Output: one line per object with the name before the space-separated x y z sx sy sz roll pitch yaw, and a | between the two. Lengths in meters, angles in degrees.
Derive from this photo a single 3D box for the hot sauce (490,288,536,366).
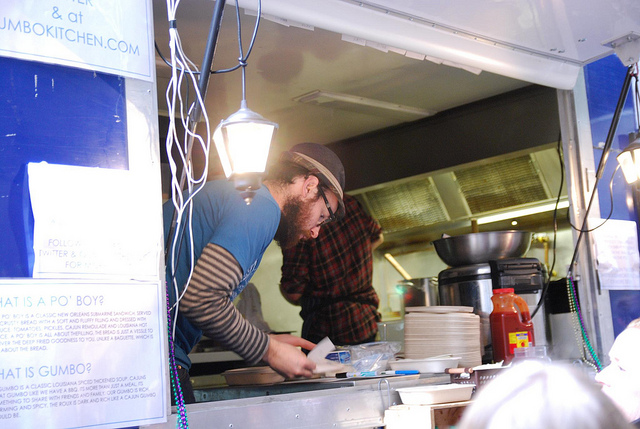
hot sauce | 1.004 0.578 2.515 0.260 0.468 0.198 0 -10 -11

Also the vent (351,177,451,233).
vent | 0.982 -0.103 5.139 0.923 0.658 0.219 -10 20 38

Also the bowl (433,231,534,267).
bowl | 0.953 0.197 2.688 0.323 0.090 0.325 -3 -13 -1
